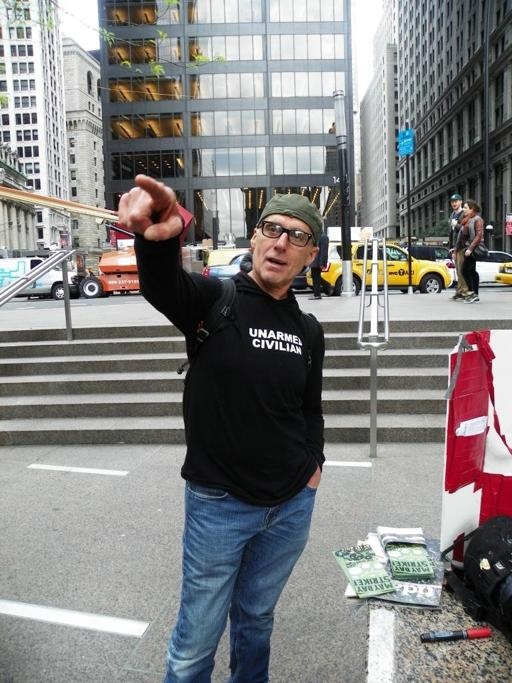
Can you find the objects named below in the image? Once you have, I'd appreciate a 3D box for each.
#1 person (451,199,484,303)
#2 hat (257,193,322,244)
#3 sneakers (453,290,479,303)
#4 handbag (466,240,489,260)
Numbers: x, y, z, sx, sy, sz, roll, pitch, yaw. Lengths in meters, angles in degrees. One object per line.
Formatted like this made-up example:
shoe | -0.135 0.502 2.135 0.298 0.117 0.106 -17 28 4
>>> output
person | 3.858 -1.658 10.525 0.466 1.906 1.425 1 6 18
hat | 0.114 -0.385 1.862 0.141 0.147 0.187 14 -23 7
sneakers | 3.988 -0.853 11.018 0.180 0.225 0.527 5 5 -32
handbag | 3.865 -1.595 10.075 0.268 0.295 0.441 1 6 19
